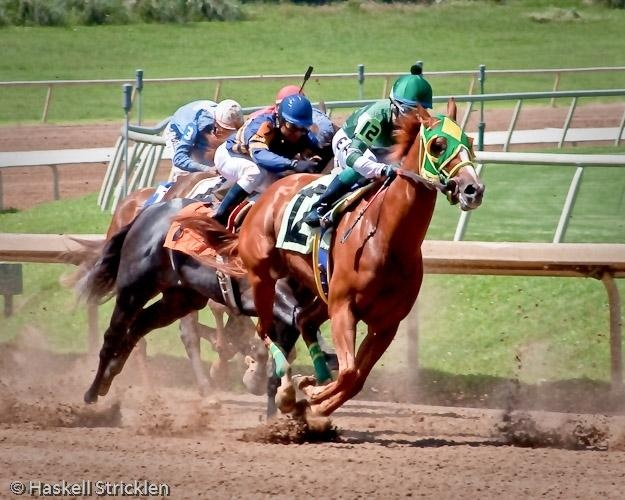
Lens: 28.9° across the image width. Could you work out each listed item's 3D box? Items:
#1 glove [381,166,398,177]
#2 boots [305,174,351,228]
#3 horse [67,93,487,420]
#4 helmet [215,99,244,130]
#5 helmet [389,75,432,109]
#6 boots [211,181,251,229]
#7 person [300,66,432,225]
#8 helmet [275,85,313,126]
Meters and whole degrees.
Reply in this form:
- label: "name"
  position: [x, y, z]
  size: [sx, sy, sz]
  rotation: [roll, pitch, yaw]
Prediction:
- label: "glove"
  position: [0.567, -0.593, 9.048]
  size: [0.067, 0.044, 0.119]
  rotation: [3, 0, -44]
- label: "boots"
  position: [0.122, -0.357, 9.262]
  size: [0.152, 0.544, 0.138]
  rotation: [57, 8, 19]
- label: "horse"
  position: [-0.001, -0.008, 9.459]
  size: [2.516, 2.542, 0.885]
  rotation: [17, 24, 30]
- label: "helmet"
  position: [-0.769, -1.189, 10.792]
  size: [0.220, 0.285, 0.147]
  rotation: [-36, 7, -26]
- label: "helmet"
  position: [0.739, -1.214, 9.186]
  size: [0.359, 0.226, 0.236]
  rotation: [12, 25, 24]
- label: "boots"
  position: [-0.673, -0.366, 9.834]
  size: [0.122, 0.365, 0.270]
  rotation: [38, 10, -31]
- label: "person"
  position: [0.428, -0.840, 9.425]
  size: [0.653, 0.966, 1.645]
  rotation: [-1, -7, -29]
- label: "helmet"
  position: [-0.139, -1.136, 9.534]
  size: [0.231, 0.148, 0.295]
  rotation: [-24, 54, -27]
